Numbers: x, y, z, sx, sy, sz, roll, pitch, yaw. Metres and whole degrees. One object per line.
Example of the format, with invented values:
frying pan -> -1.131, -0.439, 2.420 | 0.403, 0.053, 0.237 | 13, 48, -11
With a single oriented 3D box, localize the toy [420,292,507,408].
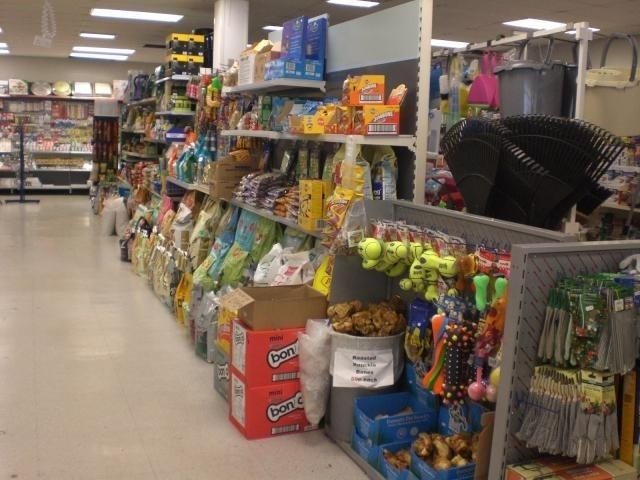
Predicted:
toy -> 0.650, 0.442, 2.103 | 0.175, 0.556, 0.381 | -8, 13, -39
